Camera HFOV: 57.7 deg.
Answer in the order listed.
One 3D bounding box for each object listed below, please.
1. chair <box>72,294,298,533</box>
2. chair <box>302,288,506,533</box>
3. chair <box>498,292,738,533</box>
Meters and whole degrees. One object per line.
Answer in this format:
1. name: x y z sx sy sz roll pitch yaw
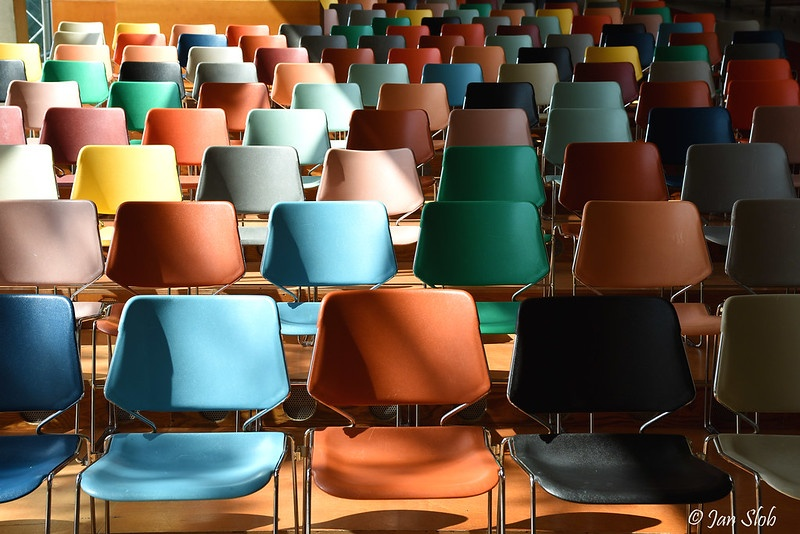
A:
1. chair: -0.857 0.729 3.030 0.840 1.054 0.762 0 29 -9
2. chair: 0.005 0.576 3.240 1.025 1.342 1.006 -1 4 -4
3. chair: 0.850 0.570 3.221 1.189 1.164 0.978 -1 2 -1
